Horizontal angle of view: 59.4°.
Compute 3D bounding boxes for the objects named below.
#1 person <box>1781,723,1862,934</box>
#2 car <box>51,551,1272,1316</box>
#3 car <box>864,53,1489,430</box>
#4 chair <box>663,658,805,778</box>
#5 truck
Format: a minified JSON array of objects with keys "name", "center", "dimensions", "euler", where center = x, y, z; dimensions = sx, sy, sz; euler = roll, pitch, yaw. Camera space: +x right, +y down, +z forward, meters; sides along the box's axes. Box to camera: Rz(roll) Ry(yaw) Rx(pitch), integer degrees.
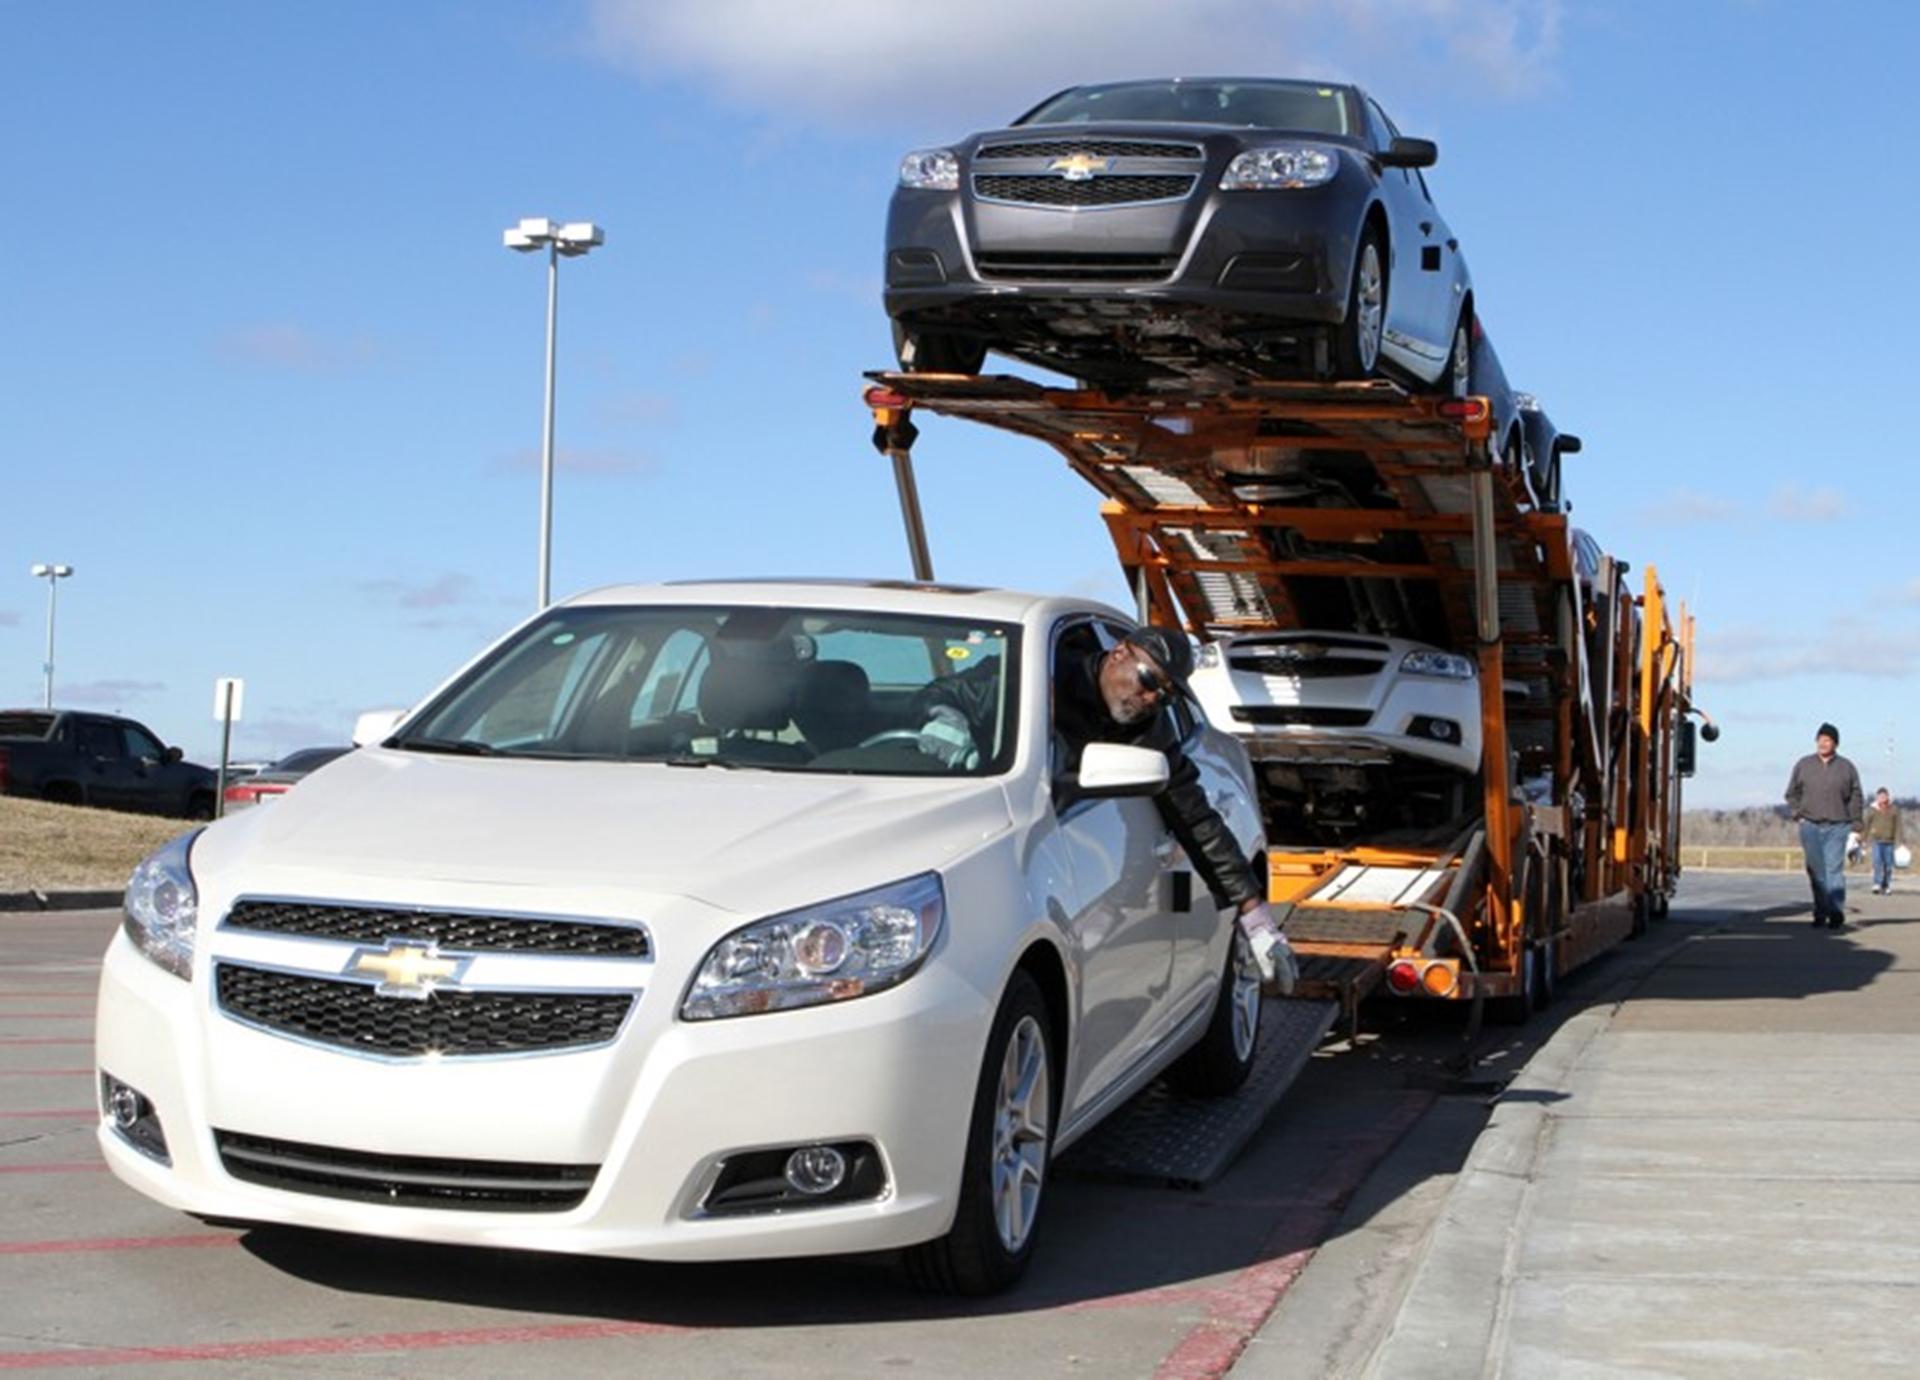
[{"name":"person","center":[9.947,1.553,19.544],"dimensions":[0.766,2.286,1.348],"euler":[0,-4,24]},{"name":"car","center":[-0.517,0.359,6.770],"dimensions":[3.051,1.539,4.914],"euler":[3,12,24]},{"name":"car","center":[1.708,-2.679,10.548],"dimensions":[2.700,1.223,4.765],"euler":[6,6,23]},{"name":"chair","center":[-0.766,0.091,5.980],"dimensions":[0.410,0.345,0.424],"euler":[-2,-13,16]},{"name":"truck","center":[3.609,-0.324,14.347],"dimensions":[3.920,2.739,10.544],"euler":[4,3,28]}]
